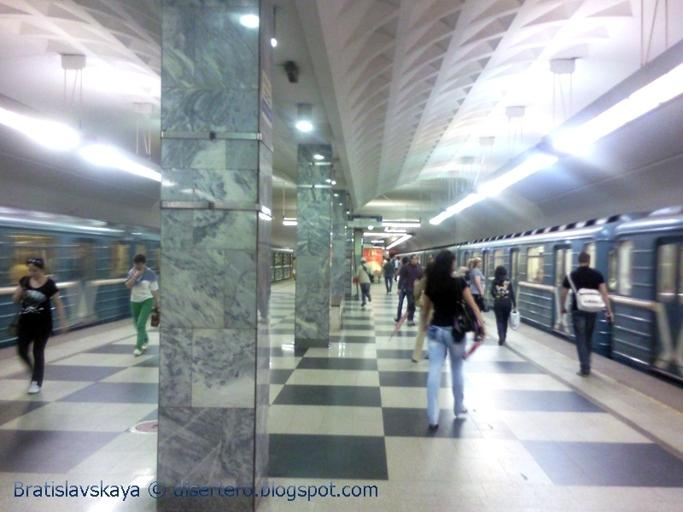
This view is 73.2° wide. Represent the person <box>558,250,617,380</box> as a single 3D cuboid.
[{"bbox_3d":[4.289,1.024,8.135,0.783,2.174,0.671,0,-1,9],"label":"person"}]

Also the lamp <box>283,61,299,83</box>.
[{"bbox_3d":[-0.787,-2.919,7.241,0.192,0.205,0.351,-2,-17,-1],"label":"lamp"}]

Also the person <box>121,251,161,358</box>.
[{"bbox_3d":[-3.993,0.989,9.209,0.552,2.042,1.341,1,-1,-25],"label":"person"}]

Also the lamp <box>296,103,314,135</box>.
[{"bbox_3d":[-0.708,-2.631,8.822,0.334,0.388,0.346,-4,-8,39],"label":"lamp"}]

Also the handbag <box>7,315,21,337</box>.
[{"bbox_3d":[-4.952,1.062,6.936,0.127,0.344,0.664,1,-1,-36],"label":"handbag"}]

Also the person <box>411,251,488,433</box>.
[{"bbox_3d":[1.500,1.098,6.245,0.738,2.347,0.508,1,-1,-5],"label":"person"}]

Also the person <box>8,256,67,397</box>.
[{"bbox_3d":[-4.707,1.076,7.159,0.646,2.092,0.677,1,-1,-32],"label":"person"}]

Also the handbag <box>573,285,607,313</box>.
[{"bbox_3d":[4.284,0.743,7.928,0.402,0.401,0.218,1,-26,-5],"label":"handbag"}]

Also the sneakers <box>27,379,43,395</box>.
[{"bbox_3d":[-4.785,2.051,7.177,0.119,0.109,0.252,3,-10,-23],"label":"sneakers"}]
